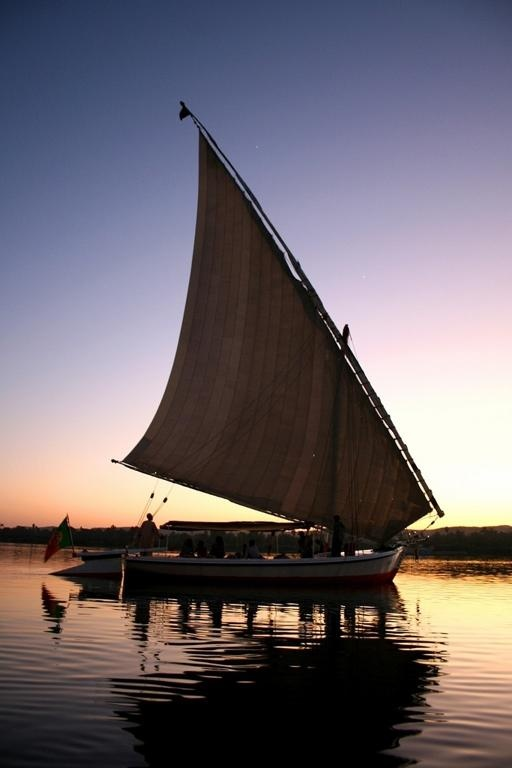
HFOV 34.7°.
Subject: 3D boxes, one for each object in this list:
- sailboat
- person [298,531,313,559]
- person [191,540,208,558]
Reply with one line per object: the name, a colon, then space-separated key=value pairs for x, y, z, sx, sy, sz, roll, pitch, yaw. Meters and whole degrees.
sailboat: x=0.439 y=-1.404 z=24.583 sx=8.277 sy=14.404 sz=3.943 roll=5 pitch=-11 yaw=-11
person: x=1.398 y=4.552 z=23.434 sx=0.362 sy=0.683 sz=0.885 roll=1 pitch=-11 yaw=6
person: x=-1.506 y=4.506 z=22.519 sx=0.285 sy=0.401 sz=0.893 roll=3 pitch=-11 yaw=-1
